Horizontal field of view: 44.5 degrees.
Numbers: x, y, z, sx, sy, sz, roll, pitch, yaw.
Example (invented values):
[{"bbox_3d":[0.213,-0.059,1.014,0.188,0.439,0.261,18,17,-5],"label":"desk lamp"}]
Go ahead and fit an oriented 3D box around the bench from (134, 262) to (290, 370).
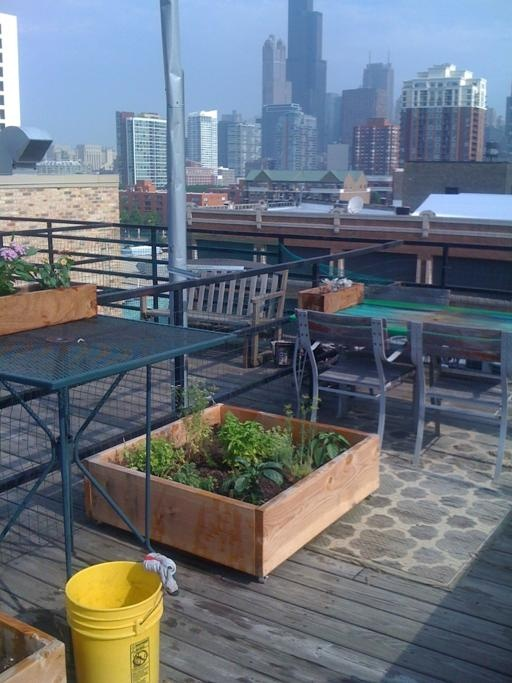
[{"bbox_3d":[-0.255,-0.213,5.009,1.155,0.685,0.471,8,16,30],"label":"bench"}]
